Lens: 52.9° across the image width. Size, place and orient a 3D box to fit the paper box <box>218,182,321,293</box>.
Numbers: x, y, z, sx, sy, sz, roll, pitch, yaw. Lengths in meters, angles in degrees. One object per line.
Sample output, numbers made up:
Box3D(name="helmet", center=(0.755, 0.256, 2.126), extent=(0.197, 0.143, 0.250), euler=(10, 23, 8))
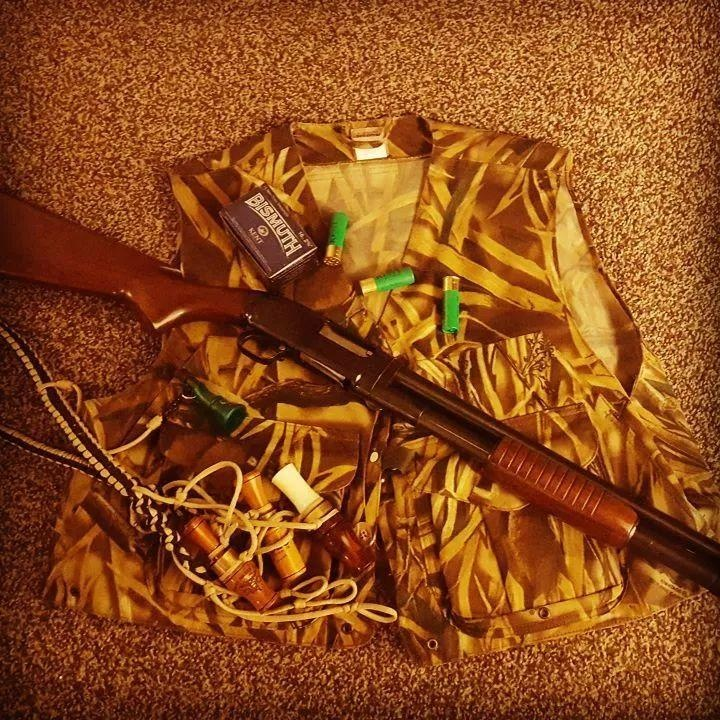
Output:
Box3D(name="paper box", center=(-0.155, -0.200, 1.212), extent=(0.136, 0.058, 0.175), euler=(-42, 89, -8))
